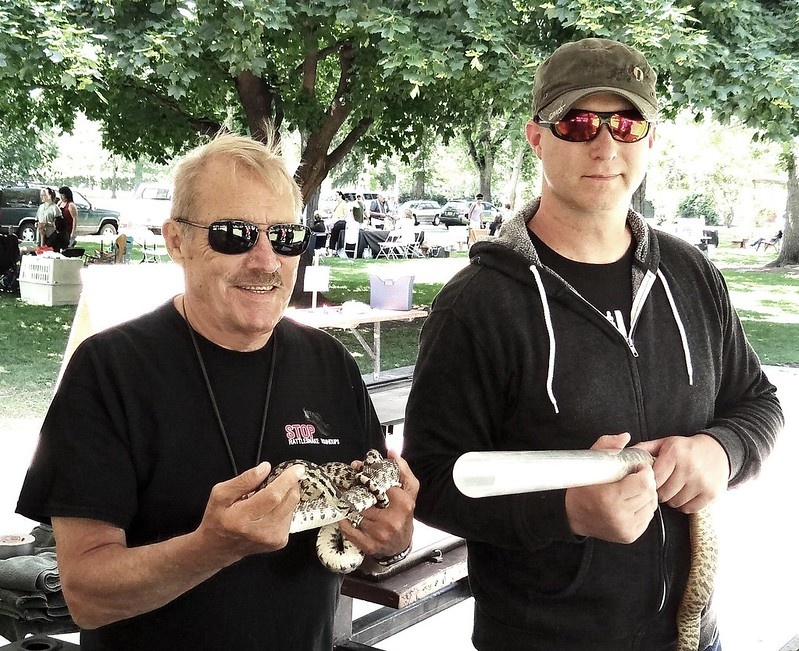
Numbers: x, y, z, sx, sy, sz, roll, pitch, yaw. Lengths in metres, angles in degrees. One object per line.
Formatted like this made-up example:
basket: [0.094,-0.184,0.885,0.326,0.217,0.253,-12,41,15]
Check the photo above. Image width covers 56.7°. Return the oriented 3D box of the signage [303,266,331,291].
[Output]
signage: [-1.322,-0.671,10.868,0.440,0.407,0.097,-4,13,-37]

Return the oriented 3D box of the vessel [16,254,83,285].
vessel: [-6.749,-1.075,14.301,0.894,0.658,1.231,0,5,-24]

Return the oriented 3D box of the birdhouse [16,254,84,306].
birdhouse: [-7.041,-0.883,14.902,1.244,0.879,0.797,7,6,30]

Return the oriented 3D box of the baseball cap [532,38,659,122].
baseball cap: [0.614,-0.764,2.290,0.388,0.251,0.506,-1,13,4]

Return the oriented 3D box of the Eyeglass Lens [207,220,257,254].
Eyeglass Lens: [-0.438,-0.232,1.946,0.104,0.043,0.099,0,-4,-16]

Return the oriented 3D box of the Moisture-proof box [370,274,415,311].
Moisture-proof box: [-0.108,-0.477,10.935,0.610,0.465,0.178,0,-1,13]
